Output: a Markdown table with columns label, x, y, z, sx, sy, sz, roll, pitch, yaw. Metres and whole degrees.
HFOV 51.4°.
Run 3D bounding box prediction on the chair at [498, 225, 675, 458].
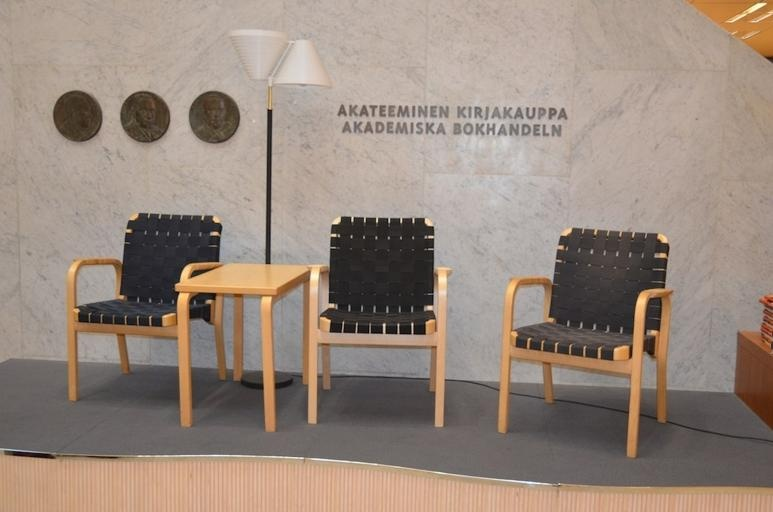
| label | x | y | z | sx | sy | sz | roll | pitch | yaw |
| --- | --- | --- | --- | --- | --- | --- | --- | --- | --- |
| chair | 1.440 | 0.514 | 5.742 | 1.101 | 1.420 | 1.113 | 3 | 6 | 17 |

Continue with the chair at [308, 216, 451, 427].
| label | x | y | z | sx | sy | sz | roll | pitch | yaw |
| --- | --- | --- | --- | --- | --- | --- | --- | --- | --- |
| chair | -0.058 | 0.444 | 5.943 | 1.048 | 1.473 | 1.072 | 2 | 5 | 10 |

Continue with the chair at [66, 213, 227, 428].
| label | x | y | z | sx | sy | sz | roll | pitch | yaw |
| --- | --- | --- | --- | --- | --- | --- | --- | --- | --- |
| chair | -1.817 | 0.397 | 6.189 | 0.982 | 1.421 | 1.012 | 3 | 7 | 16 |

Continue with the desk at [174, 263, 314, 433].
| label | x | y | z | sx | sy | sz | roll | pitch | yaw |
| --- | --- | --- | --- | --- | --- | --- | --- | --- | --- |
| desk | -1.134 | 0.434 | 6.242 | 0.998 | 1.443 | 1.481 | 1 | 4 | 7 |
